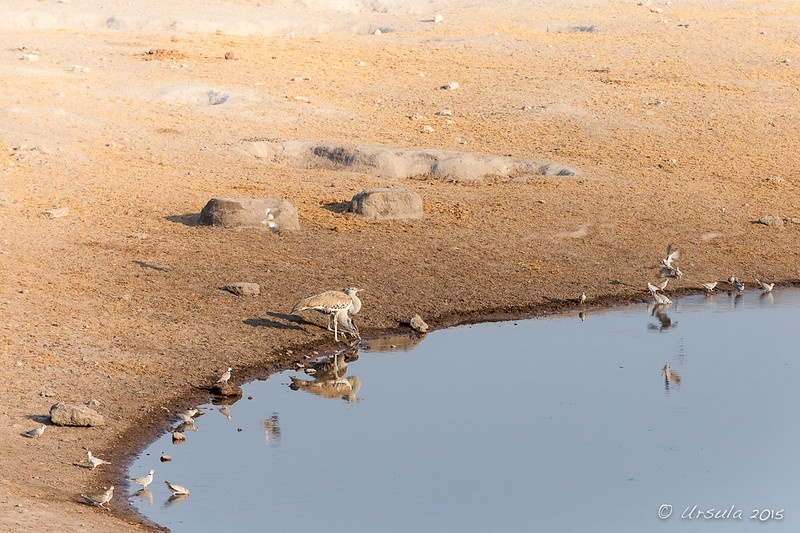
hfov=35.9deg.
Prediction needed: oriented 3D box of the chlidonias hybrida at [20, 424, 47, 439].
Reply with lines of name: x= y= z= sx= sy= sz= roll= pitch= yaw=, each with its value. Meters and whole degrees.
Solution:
chlidonias hybrida: x=-6.919 y=3.134 z=23.479 sx=0.506 sy=0.123 sz=0.261 roll=-24 pitch=47 yaw=-17

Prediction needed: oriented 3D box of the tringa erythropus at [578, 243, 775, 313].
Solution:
tringa erythropus: x=6.468 y=0.398 z=27.325 sx=2.835 sy=0.591 sz=2.089 roll=11 pitch=40 yaw=22

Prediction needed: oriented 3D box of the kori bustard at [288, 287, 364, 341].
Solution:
kori bustard: x=-1.567 y=0.875 z=25.623 sx=1.766 sy=0.538 sz=0.784 roll=3 pitch=73 yaw=-30
